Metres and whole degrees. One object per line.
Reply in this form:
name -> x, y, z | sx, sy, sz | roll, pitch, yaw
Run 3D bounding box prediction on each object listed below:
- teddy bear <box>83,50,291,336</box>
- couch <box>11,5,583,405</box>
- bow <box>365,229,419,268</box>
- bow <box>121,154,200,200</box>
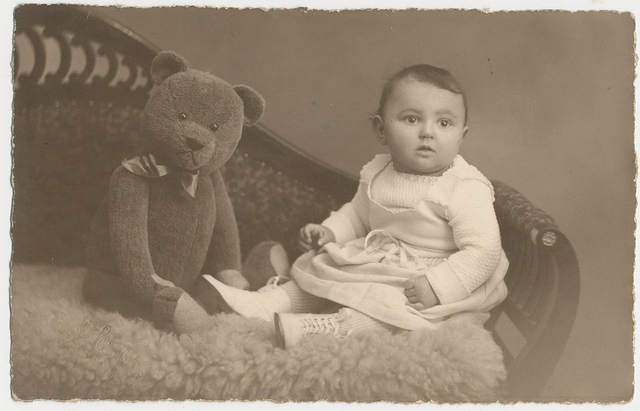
teddy bear -> -0.561, -0.012, 3.578 | 0.842, 1.127, 0.499 | 25, 15, 4
couch -> -0.166, 0.190, 3.741 | 2.327, 0.925, 1.693 | 7, 2, -11
bow -> 0.301, 0.179, 3.556 | 0.198, 0.066, 0.160 | 30, 32, 4
bow -> -0.679, -0.136, 3.528 | 0.262, 0.082, 0.195 | 12, 40, -21
